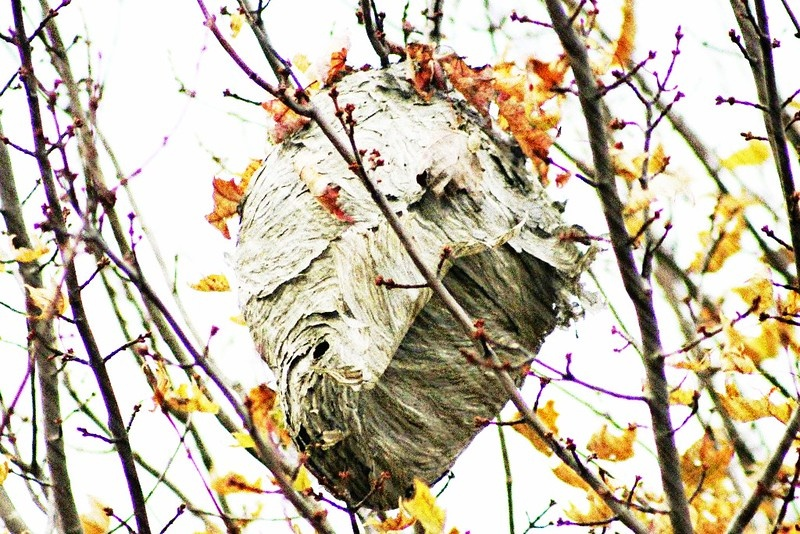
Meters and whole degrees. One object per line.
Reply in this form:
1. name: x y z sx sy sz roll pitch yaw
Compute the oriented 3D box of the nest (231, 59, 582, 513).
1. nest: 0.106 -0.253 8.842 1.612 2.197 1.790 -3 -21 -34
